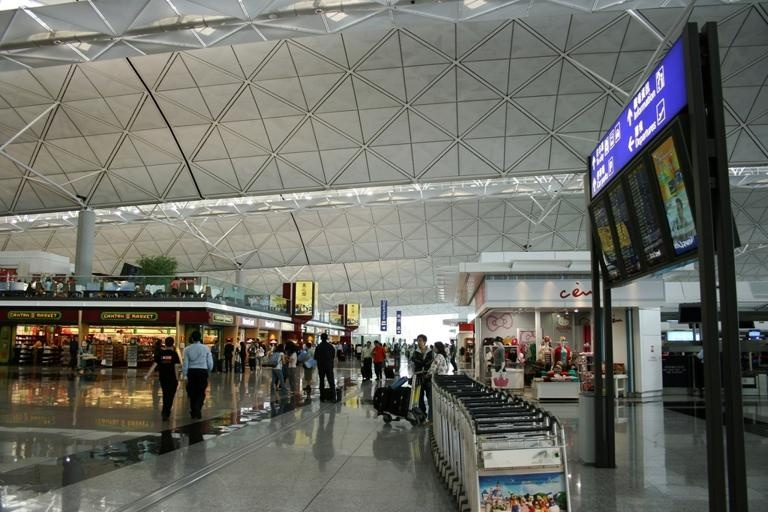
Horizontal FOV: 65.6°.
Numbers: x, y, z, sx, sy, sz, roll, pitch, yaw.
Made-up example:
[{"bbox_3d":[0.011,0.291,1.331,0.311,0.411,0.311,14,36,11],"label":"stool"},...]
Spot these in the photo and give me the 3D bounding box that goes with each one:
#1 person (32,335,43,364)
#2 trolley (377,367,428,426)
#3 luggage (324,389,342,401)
[{"bbox_3d":[-22.726,6.148,39.073,0.623,1.773,0.751,5,-12,-30],"label":"person"},{"bbox_3d":[0.509,3.946,16.850,1.493,1.426,0.938,3,-5,29],"label":"trolley"},{"bbox_3d":[-1.829,4.858,20.795,0.393,0.476,0.721,1,-2,29],"label":"luggage"}]
